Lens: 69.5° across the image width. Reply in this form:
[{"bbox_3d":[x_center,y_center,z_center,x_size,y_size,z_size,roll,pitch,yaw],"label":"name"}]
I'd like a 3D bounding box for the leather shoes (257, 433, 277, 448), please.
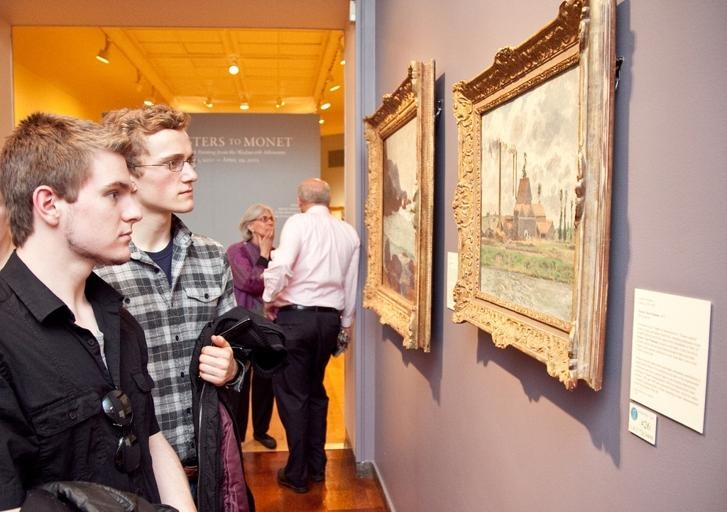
[{"bbox_3d":[-0.817,1.539,4.404,0.178,0.073,0.076,6,12,43],"label":"leather shoes"}]

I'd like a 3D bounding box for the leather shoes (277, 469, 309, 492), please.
[{"bbox_3d":[-0.512,1.621,3.769,0.105,0.110,0.232,-5,19,-42],"label":"leather shoes"}]

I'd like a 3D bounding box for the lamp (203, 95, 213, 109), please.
[{"bbox_3d":[-2.379,-2.352,7.971,0.091,0.097,0.173,15,-38,-18],"label":"lamp"}]

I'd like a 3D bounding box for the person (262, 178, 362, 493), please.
[{"bbox_3d":[-0.422,0.530,3.953,0.533,2.210,0.691,6,8,39],"label":"person"}]
